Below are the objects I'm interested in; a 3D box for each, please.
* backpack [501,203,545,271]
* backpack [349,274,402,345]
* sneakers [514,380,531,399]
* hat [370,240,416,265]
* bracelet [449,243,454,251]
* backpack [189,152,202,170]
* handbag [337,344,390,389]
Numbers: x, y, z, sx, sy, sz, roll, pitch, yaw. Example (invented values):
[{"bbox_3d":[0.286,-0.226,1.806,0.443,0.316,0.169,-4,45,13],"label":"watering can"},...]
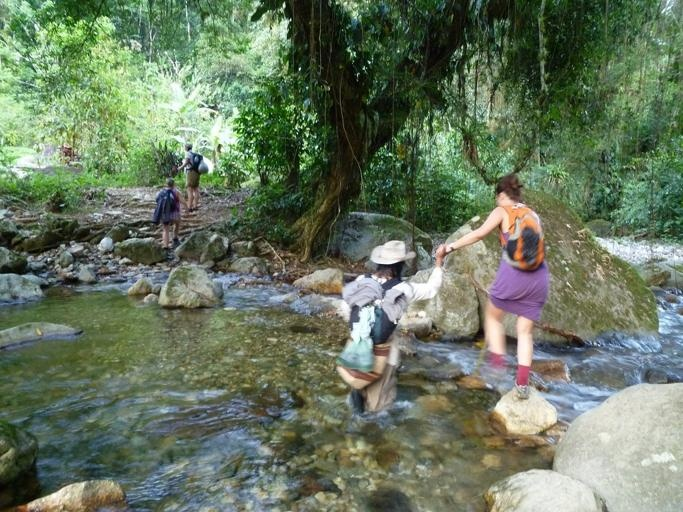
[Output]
[{"bbox_3d":[2.411,-0.257,7.252,0.577,0.468,1.132,-2,27,14],"label":"backpack"},{"bbox_3d":[0.395,0.538,6.195,0.524,0.799,0.337,11,-5,-2],"label":"backpack"},{"bbox_3d":[2.170,1.580,6.573,0.137,0.176,0.161,2,-14,-2],"label":"sneakers"},{"bbox_3d":[0.610,-0.051,6.452,0.338,0.148,0.299,-21,20,-34],"label":"hat"},{"bbox_3d":[1.403,-0.122,7.000,0.021,0.083,0.074,2,8,-14],"label":"bracelet"},{"bbox_3d":[-4.217,-2.705,15.830,0.351,0.576,0.186,-3,13,-19],"label":"backpack"},{"bbox_3d":[0.295,1.323,6.440,0.408,0.388,0.623,17,38,4],"label":"handbag"}]
